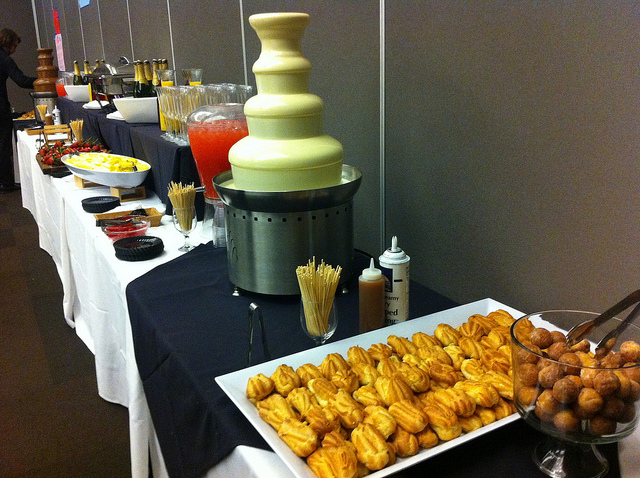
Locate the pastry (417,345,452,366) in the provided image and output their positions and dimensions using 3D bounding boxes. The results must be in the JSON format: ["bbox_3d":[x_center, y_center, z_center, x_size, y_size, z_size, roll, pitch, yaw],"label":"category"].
[{"bbox_3d":[0.210,0.209,0.941,0.035,0.012,0.036,12,16,28],"label":"pastry"}]

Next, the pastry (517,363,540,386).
[{"bbox_3d":[0.302,0.194,0.744,0.027,0.030,0.029,-9,-6,35],"label":"pastry"}]

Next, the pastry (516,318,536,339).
[{"bbox_3d":[0.325,0.141,0.817,0.026,0.008,0.027,45,55,14],"label":"pastry"}]

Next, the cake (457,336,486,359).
[{"bbox_3d":[0.283,0.203,0.960,0.034,0.015,0.038,10,29,-1],"label":"cake"}]

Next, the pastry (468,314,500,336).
[{"bbox_3d":[0.327,0.163,1.013,0.033,0.018,0.046,-22,26,-23],"label":"pastry"}]

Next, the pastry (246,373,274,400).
[{"bbox_3d":[-0.104,0.249,0.864,0.034,0.016,0.038,13,31,24],"label":"pastry"}]

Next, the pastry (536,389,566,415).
[{"bbox_3d":[0.323,0.230,0.720,0.032,0.034,0.019,-12,56,8],"label":"pastry"}]

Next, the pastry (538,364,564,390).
[{"bbox_3d":[0.323,0.191,0.717,0.030,0.032,0.017,-27,37,6],"label":"pastry"}]

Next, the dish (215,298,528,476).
[{"bbox_3d":[0.092,0.228,0.929,0.368,0.246,0.445,-5,14,-25],"label":"dish"}]

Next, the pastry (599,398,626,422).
[{"bbox_3d":[0.404,0.234,0.702,0.037,0.036,0.006,-6,22,-6],"label":"pastry"}]

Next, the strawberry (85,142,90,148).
[{"bbox_3d":[-1.201,-0.483,2.632,0.030,0.024,0.032,-1,2,8],"label":"strawberry"}]

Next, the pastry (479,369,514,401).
[{"bbox_3d":[0.304,0.245,0.863,0.033,0.015,0.046,-14,24,-26],"label":"pastry"}]

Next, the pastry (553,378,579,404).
[{"bbox_3d":[0.338,0.208,0.707,0.031,0.033,0.017,-13,18,21],"label":"pastry"}]

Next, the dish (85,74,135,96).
[{"bbox_3d":[-1.148,-0.867,2.855,0.209,0.114,0.098,-13,25,-22],"label":"dish"}]

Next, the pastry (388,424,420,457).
[{"bbox_3d":[0.130,0.311,0.781,0.030,0.017,0.041,-18,31,-27],"label":"pastry"}]

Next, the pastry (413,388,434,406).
[{"bbox_3d":[0.179,0.266,0.865,0.020,0.006,0.020,-19,27,-26],"label":"pastry"}]

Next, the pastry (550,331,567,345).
[{"bbox_3d":[0.374,0.154,0.802,0.017,0.009,0.018,5,-4,-2],"label":"pastry"}]

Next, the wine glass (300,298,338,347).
[{"bbox_3d":[-0.002,0.162,1.007,0.070,0.111,0.040,-5,22,-4],"label":"wine glass"}]

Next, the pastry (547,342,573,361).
[{"bbox_3d":[0.358,0.165,0.765,0.023,0.017,0.028,-12,4,12],"label":"pastry"}]

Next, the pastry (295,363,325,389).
[{"bbox_3d":[-0.024,0.237,0.905,0.031,0.013,0.037,16,30,22],"label":"pastry"}]

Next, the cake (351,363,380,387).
[{"bbox_3d":[0.079,0.239,0.904,0.031,0.015,0.038,-7,21,-23],"label":"cake"}]

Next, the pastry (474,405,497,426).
[{"bbox_3d":[0.269,0.283,0.828,0.018,0.017,0.036,-16,16,-3],"label":"pastry"}]

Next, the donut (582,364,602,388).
[{"bbox_3d":[0.369,0.185,0.697,0.022,0.028,0.023,2,0,32],"label":"donut"}]

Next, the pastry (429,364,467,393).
[{"bbox_3d":[0.217,0.239,0.896,0.052,0.020,0.038,-10,17,-29],"label":"pastry"}]

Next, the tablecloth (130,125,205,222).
[{"bbox_3d":[-0.581,-0.278,1.913,0.229,0.396,0.458,-7,16,-29],"label":"tablecloth"}]

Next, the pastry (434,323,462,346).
[{"bbox_3d":[0.247,0.186,0.991,0.032,0.020,0.043,-15,22,-15],"label":"pastry"}]

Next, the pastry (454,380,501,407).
[{"bbox_3d":[0.266,0.247,0.846,0.050,0.018,0.038,9,14,43],"label":"pastry"}]

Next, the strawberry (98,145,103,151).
[{"bbox_3d":[-1.117,-0.466,2.592,0.019,0.021,0.019,-8,19,-30],"label":"strawberry"}]

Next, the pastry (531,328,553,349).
[{"bbox_3d":[0.344,0.152,0.792,0.029,0.030,0.029,-8,10,-40],"label":"pastry"}]

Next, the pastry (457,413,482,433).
[{"bbox_3d":[0.241,0.294,0.818,0.021,0.011,0.029,-21,14,-21],"label":"pastry"}]

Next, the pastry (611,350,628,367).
[{"bbox_3d":[0.438,0.175,0.747,0.015,0.016,0.008,24,51,1],"label":"pastry"}]

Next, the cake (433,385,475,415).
[{"bbox_3d":[0.224,0.253,0.831,0.032,0.017,0.046,-14,22,-15],"label":"cake"}]

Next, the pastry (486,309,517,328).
[{"bbox_3d":[0.365,0.157,1.023,0.027,0.014,0.037,-14,30,-18],"label":"pastry"}]

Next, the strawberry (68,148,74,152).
[{"bbox_3d":[-1.243,-0.443,2.546,0.031,0.012,0.024,2,12,-9],"label":"strawberry"}]

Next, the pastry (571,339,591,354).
[{"bbox_3d":[0.401,0.163,0.780,0.020,0.021,0.007,1,55,8],"label":"pastry"}]

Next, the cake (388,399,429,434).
[{"bbox_3d":[0.139,0.278,0.802,0.032,0.019,0.049,-24,24,-25],"label":"cake"}]
